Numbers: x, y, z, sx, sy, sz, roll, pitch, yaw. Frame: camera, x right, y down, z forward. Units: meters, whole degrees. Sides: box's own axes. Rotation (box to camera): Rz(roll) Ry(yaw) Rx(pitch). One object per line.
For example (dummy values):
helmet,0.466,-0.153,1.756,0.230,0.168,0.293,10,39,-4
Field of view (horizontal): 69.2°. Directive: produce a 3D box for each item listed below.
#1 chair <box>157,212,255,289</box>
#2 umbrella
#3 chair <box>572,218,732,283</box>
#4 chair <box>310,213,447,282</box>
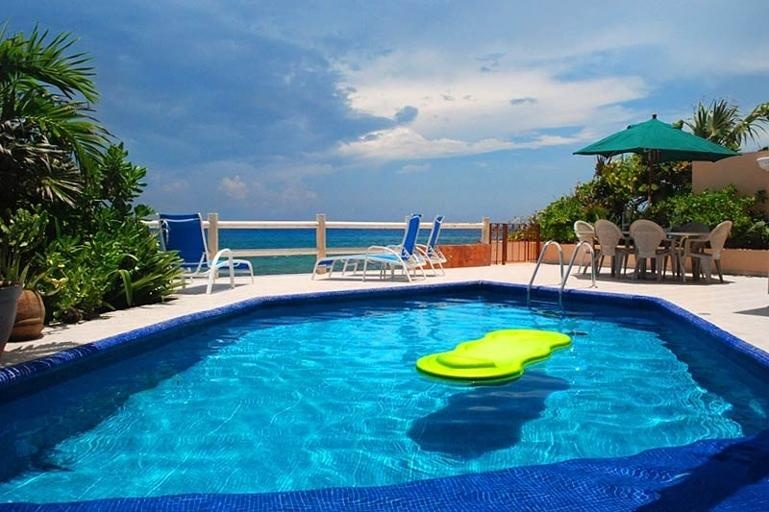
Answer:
chair,-3.277,-0.030,10.248,1.080,1.330,2.001,3,-1,11
umbrella,5.465,-2.142,11.047,2.426,1.189,2.477,-7,15,-6
chair,5.403,-0.120,11.146,2.576,1.127,2.788,2,2,31
chair,-0.227,-0.116,11.778,2.192,1.182,1.526,1,1,23
